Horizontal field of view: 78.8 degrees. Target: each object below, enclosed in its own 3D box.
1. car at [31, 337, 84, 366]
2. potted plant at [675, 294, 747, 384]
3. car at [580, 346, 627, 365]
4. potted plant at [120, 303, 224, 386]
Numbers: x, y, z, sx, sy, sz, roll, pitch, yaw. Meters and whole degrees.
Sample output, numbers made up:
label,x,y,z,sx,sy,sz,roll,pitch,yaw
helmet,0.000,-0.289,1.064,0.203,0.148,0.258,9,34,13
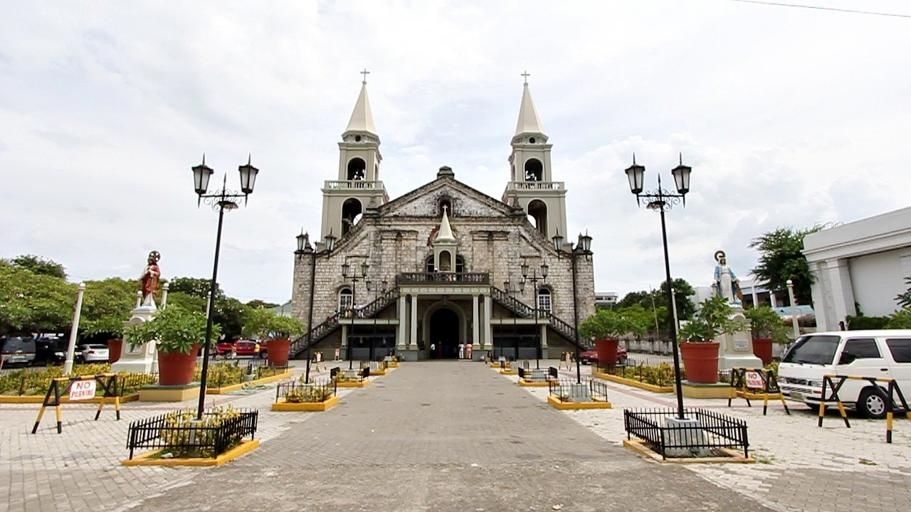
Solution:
label,x,y,z,sx,sy,sz,roll,pitch,yaw
car,-27.721,6.818,38.616,2.553,1.765,4.863,2,1,-37
potted plant,11.373,3.593,23.774,2.345,3.058,2.692,8,-14,11
car,9.602,6.876,38.048,3.080,1.229,1.757,12,-20,-22
potted plant,-11.757,3.782,23.175,3.394,2.674,2.870,-3,6,-34
